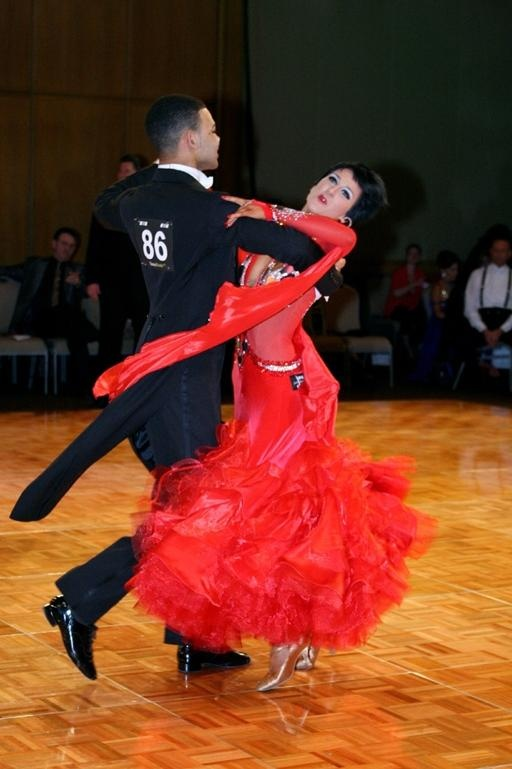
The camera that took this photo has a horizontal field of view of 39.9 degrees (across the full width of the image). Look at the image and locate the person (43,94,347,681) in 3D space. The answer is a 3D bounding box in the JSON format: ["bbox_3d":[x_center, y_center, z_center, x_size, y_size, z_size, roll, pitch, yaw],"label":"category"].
[{"bbox_3d":[-0.183,0.027,1.481,0.464,1.275,0.628,3,-7,-16],"label":"person"}]
